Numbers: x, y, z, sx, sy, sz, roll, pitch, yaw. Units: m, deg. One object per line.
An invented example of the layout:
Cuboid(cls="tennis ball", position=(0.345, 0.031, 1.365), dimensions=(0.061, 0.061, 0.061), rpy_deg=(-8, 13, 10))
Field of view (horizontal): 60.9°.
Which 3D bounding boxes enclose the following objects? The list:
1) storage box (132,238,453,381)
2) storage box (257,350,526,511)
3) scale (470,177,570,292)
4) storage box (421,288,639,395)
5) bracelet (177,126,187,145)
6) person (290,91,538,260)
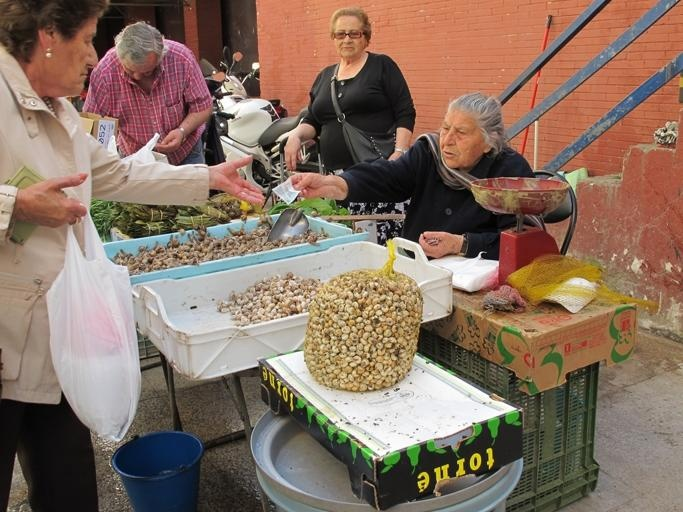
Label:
Cuboid(cls="storage box", position=(-0.224, 0.168, 2.590), dimensions=(1.253, 0.287, 0.855), rpy_deg=(-12, 16, -33))
Cuboid(cls="storage box", position=(0.225, 0.542, 1.847), dimensions=(0.421, 0.131, 0.605), rpy_deg=(-11, 20, -28))
Cuboid(cls="scale", position=(0.822, -0.081, 2.656), dimensions=(0.392, 0.507, 0.411), rpy_deg=(-11, 17, -17))
Cuboid(cls="storage box", position=(0.857, 0.335, 2.591), dimensions=(0.515, 0.211, 0.723), rpy_deg=(-14, 8, -18))
Cuboid(cls="bracelet", position=(-1.221, -0.923, 4.436), dimensions=(0.025, 0.106, 0.108), rpy_deg=(9, 68, 14))
Cuboid(cls="person", position=(0.386, -0.485, 3.548), dimensions=(0.855, 1.423, 0.789), rpy_deg=(25, 47, 36))
